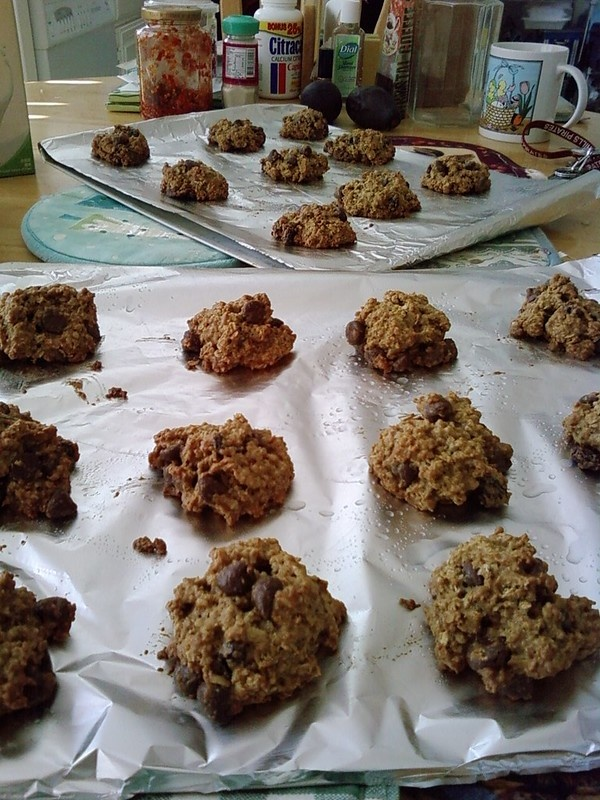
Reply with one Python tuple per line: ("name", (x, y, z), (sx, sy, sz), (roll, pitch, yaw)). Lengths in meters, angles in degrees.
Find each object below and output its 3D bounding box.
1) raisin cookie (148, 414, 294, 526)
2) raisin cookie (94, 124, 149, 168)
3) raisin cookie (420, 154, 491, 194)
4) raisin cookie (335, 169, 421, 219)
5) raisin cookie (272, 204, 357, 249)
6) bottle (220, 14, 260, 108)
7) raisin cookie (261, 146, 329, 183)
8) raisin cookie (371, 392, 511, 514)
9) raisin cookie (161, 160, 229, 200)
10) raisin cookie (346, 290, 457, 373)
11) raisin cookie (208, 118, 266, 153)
("raisin cookie", (-0.107, 0.092, 0.924), (0.155, 0.059, 0.160), (-19, 44, -35))
("raisin cookie", (-0.528, -0.743, 1.981), (0.127, 0.058, 0.162), (-6, 35, -13))
("raisin cookie", (0.453, -0.641, 1.927), (0.152, 0.058, 0.147), (-5, 41, 0))
("raisin cookie", (0.211, -0.574, 1.828), (0.241, 0.082, 0.217), (8, 39, 10))
("raisin cookie", (0.033, -0.403, 1.580), (0.146, 0.049, 0.142), (-7, 34, -12))
("bottle", (-0.212, -1.254, 2.510), (0.159, 0.312, 0.140), (-8, 37, -14))
("raisin cookie", (-0.015, -0.699, 2.004), (0.147, 0.054, 0.148), (1, 36, 2))
("raisin cookie", (0.211, 0.070, 0.989), (0.206, 0.070, 0.207), (-3, 39, 5))
("raisin cookie", (-0.279, -0.578, 1.786), (0.155, 0.064, 0.111), (13, 32, 15))
("raisin cookie", (0.192, -0.130, 1.254), (0.240, 0.067, 0.204), (0, 48, -26))
("raisin cookie", (-0.212, -0.867, 2.210), (0.149, 0.059, 0.152), (2, 31, -1))
